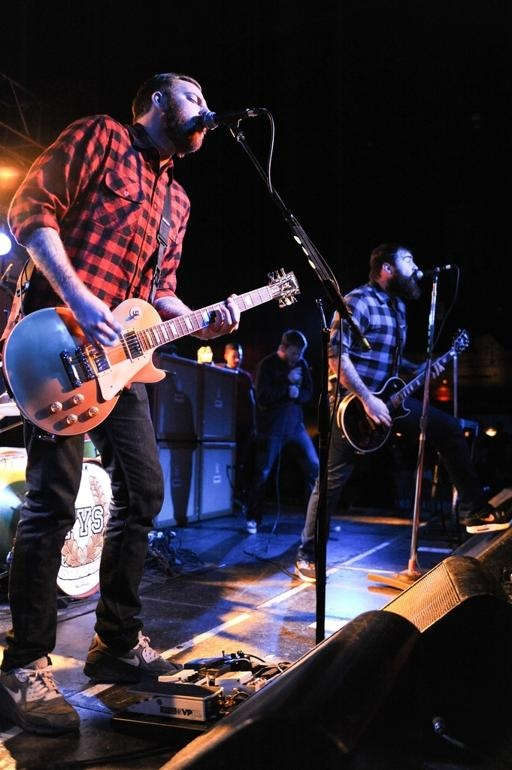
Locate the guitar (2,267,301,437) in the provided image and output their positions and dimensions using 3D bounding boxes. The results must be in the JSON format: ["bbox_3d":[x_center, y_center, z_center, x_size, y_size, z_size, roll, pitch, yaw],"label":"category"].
[{"bbox_3d":[-0.495,-0.068,2.212,0.224,0.455,0.717,1,2,31],"label":"guitar"}]

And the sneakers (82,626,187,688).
[{"bbox_3d":[-0.384,0.969,2.331,0.416,0.192,0.137,5,-8,-7],"label":"sneakers"}]

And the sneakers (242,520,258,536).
[{"bbox_3d":[-0.050,1.317,6.038,0.092,0.129,0.142,2,-21,0],"label":"sneakers"}]
